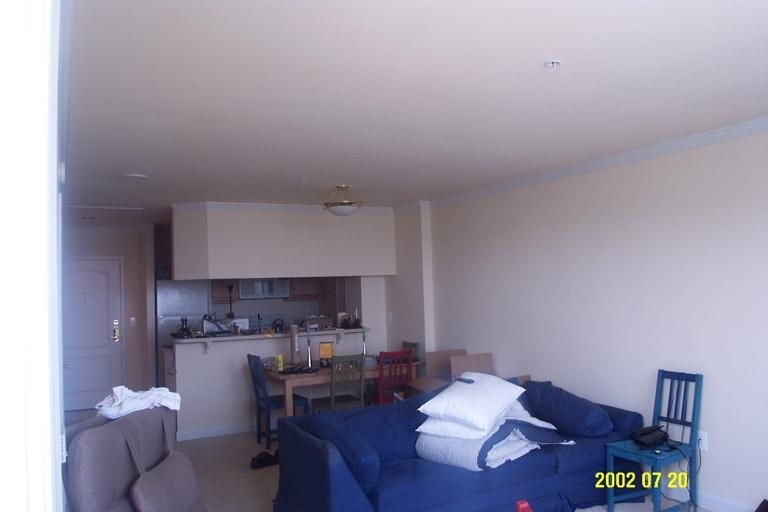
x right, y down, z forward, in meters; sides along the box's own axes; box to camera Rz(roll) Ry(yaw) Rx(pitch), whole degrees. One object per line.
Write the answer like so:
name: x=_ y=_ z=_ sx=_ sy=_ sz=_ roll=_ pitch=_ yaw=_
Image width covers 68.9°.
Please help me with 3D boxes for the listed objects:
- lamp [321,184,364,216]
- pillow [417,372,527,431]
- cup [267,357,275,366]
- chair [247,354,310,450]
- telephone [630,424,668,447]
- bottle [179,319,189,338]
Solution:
lamp: x=-0.385 y=-0.581 z=5.290 sx=0.413 sy=0.265 sz=0.405 roll=0 pitch=-5 yaw=1
pillow: x=0.745 y=1.055 z=4.287 sx=0.367 sy=0.137 sz=0.593 roll=2 pitch=6 yaw=34
cup: x=-1.326 y=1.229 z=6.538 sx=0.082 sy=0.103 sz=0.108 roll=1 pitch=0 yaw=-31
chair: x=-1.155 y=1.596 z=6.200 sx=0.600 sy=0.900 sz=0.499 roll=0 pitch=-5 yaw=-22
telephone: x=1.992 y=1.329 z=4.140 sx=0.173 sy=0.060 sz=0.164 roll=-8 pitch=3 yaw=-16
bottle: x=-2.566 y=0.937 z=7.186 sx=0.151 sy=0.203 sz=0.148 roll=-1 pitch=-7 yaw=0
